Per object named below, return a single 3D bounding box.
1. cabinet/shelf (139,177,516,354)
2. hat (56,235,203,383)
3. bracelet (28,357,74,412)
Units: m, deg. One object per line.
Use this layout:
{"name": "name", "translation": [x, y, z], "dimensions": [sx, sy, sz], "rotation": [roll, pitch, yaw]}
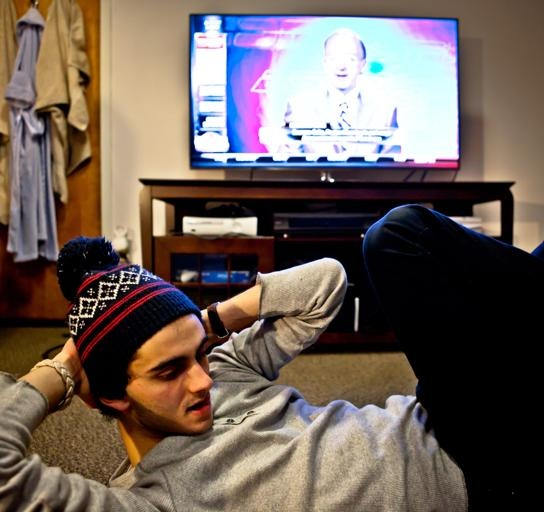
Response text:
{"name": "cabinet/shelf", "translation": [0.187, 0.054, 2.441], "dimensions": [1.409, 0.891, 0.432], "rotation": [1, 15, 5]}
{"name": "hat", "translation": [-0.264, 0.096, 1.011], "dimensions": [0.244, 0.249, 0.132], "rotation": [4, 5, 17]}
{"name": "bracelet", "translation": [-0.390, 0.214, 1.003], "dimensions": [0.025, 0.086, 0.076], "rotation": [-33, -25, 3]}
